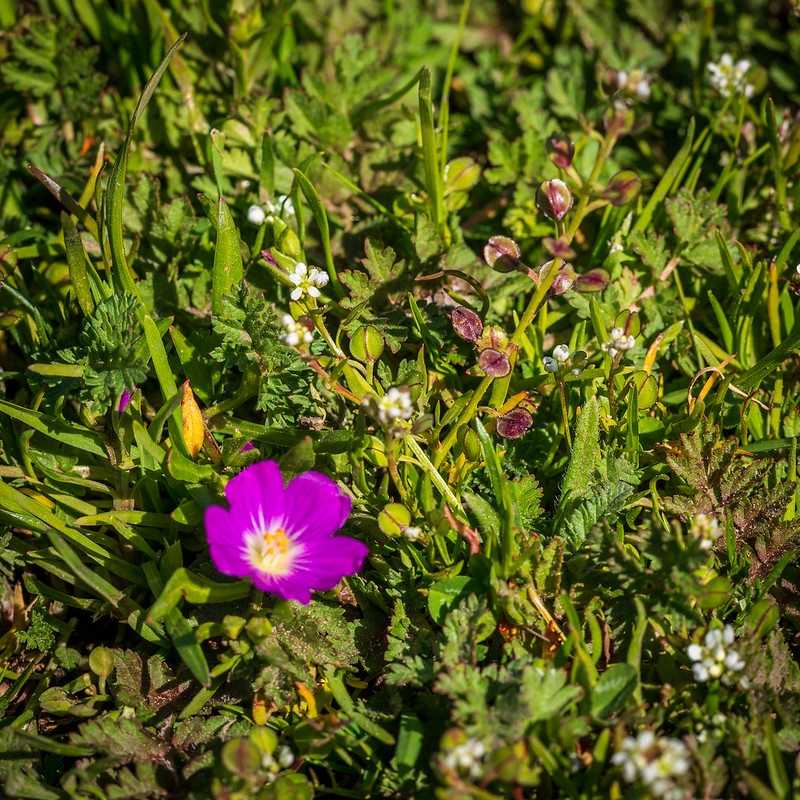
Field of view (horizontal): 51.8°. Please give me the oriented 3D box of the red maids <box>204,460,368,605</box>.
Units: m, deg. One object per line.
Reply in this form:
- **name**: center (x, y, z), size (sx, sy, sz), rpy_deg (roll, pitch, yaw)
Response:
- **red maids**: center (-0.262, 0.309, 1.814), size (0.324, 0.363, 0.308), rpy_deg (7, 64, -11)
